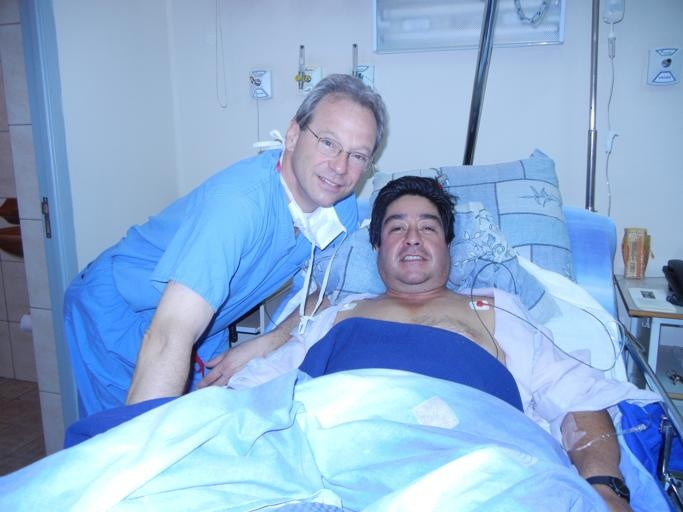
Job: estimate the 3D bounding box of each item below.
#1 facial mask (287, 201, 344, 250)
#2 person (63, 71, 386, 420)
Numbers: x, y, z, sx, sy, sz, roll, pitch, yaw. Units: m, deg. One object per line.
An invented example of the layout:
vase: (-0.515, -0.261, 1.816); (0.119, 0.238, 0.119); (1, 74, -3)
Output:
facial mask: (-0.100, -0.133, 2.175); (0.068, 0.175, 0.178); (24, 58, 42)
person: (-0.436, -0.069, 2.111); (0.951, 1.596, 0.951); (1, 13, -7)
